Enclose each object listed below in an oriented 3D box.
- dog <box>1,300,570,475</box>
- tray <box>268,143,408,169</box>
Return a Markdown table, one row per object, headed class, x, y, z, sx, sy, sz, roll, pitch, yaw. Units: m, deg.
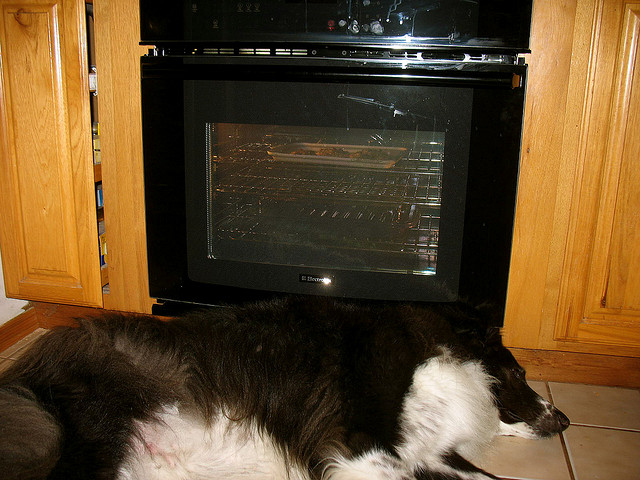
| class | x | y | z | sx | sy | sz | roll | pitch | yaw |
| --- | --- | --- | --- | --- | --- | --- | --- | --- | --- |
| dog | -0.026 | 0.490 | 1.689 | 1.622 | 0.536 | 0.571 | 4 | 54 | -4 |
| tray | 0.077 | -0.352 | 1.933 | 0.395 | 0.088 | 0.280 | -1 | 19 | 4 |
